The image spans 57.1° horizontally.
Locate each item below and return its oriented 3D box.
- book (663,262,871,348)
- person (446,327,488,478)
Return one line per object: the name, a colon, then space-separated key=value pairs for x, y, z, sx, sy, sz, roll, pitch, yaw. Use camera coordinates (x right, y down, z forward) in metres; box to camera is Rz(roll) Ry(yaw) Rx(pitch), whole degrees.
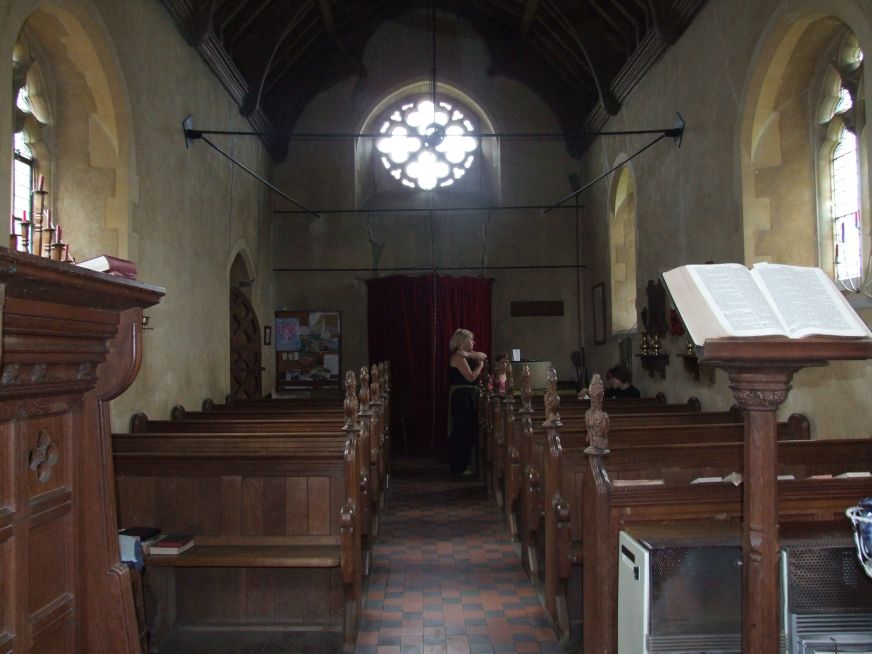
book: x=1.133 y=-0.072 z=2.795 sx=0.579 sy=0.293 sz=0.308 roll=2 pitch=2 yaw=-8
person: x=0.313 y=0.862 z=9.072 sx=0.380 sy=1.682 sz=1.100 roll=2 pitch=2 yaw=1
